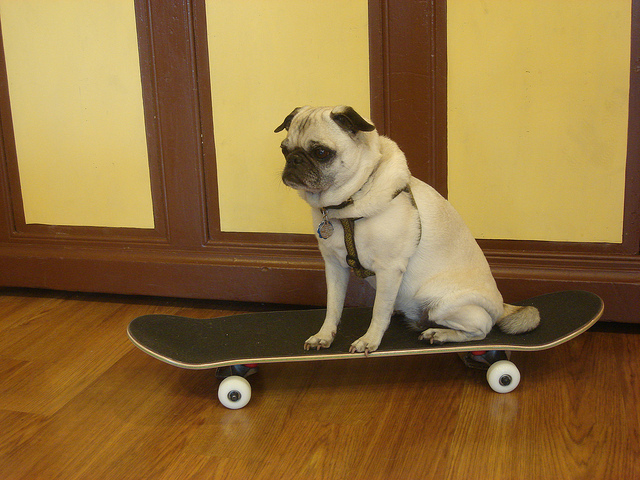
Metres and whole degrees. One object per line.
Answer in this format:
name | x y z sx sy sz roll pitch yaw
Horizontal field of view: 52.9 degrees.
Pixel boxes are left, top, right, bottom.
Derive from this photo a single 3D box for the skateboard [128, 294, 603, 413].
skateboard | 0.214 0.464 2.533 1.467 0.217 0.351 -3 17 -3
